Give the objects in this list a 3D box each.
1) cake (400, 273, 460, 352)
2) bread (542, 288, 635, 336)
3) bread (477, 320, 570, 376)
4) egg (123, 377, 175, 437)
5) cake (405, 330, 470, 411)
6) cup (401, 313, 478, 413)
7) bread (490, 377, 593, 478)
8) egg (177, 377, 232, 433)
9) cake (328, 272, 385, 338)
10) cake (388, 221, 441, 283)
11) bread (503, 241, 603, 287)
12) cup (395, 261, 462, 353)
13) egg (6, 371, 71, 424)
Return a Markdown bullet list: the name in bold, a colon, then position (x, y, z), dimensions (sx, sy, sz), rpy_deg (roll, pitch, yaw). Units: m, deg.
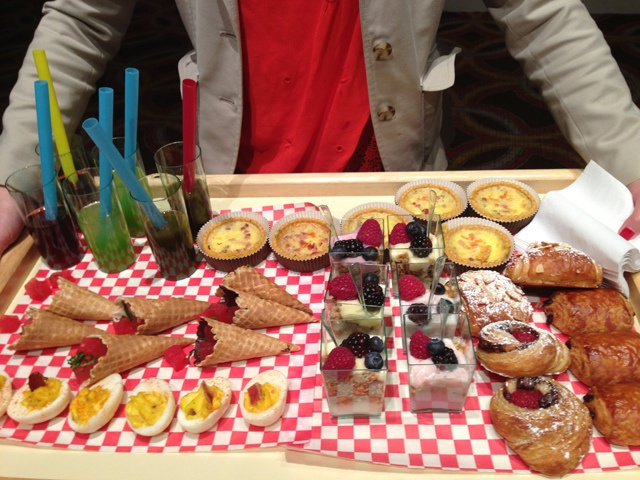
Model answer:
- **cake**: position (0.544, 0.384, 2.542), dimensions (0.270, 0.260, 0.396), rpy_deg (0, 32, 3)
- **bread**: position (1.465, 0.379, 2.644), dimensions (0.398, 0.168, 0.243), rpy_deg (-4, 30, -1)
- **bread**: position (1.043, 0.587, 2.475), dimensions (0.447, 0.184, 0.265), rpy_deg (11, 36, 20)
- **egg**: position (-0.851, 0.833, 2.422), dimensions (0.201, 0.149, 0.247), rpy_deg (-7, 46, -6)
- **cake**: position (0.520, 0.619, 2.417), dimensions (0.303, 0.353, 0.374), rpy_deg (1, 38, 4)
- **cup**: position (0.528, 0.578, 2.363), dimensions (0.360, 0.351, 0.498), rpy_deg (1, 44, 4)
- **bread**: position (1.056, 0.861, 2.287), dimensions (0.405, 0.230, 0.412), rpy_deg (-23, 38, -26)
- **egg**: position (-0.566, 0.860, 2.463), dimensions (0.195, 0.157, 0.265), rpy_deg (16, 44, 26)
- **cake**: position (0.165, 0.372, 2.564), dimensions (0.254, 0.324, 0.340), rpy_deg (-1, 39, 4)
- **cake**: position (0.511, 0.053, 2.862), dimensions (0.275, 0.324, 0.381), rpy_deg (2, 42, 4)
- **bread**: position (1.333, 0.169, 2.737), dimensions (0.450, 0.165, 0.249), rpy_deg (3, 33, -1)
- **cup**: position (0.571, 0.371, 2.574), dimensions (0.322, 0.304, 0.475), rpy_deg (-3, 39, 0)
- **egg**: position (-1.452, 0.842, 2.489), dimensions (0.305, 0.127, 0.211), rpy_deg (-8, 34, -8)
